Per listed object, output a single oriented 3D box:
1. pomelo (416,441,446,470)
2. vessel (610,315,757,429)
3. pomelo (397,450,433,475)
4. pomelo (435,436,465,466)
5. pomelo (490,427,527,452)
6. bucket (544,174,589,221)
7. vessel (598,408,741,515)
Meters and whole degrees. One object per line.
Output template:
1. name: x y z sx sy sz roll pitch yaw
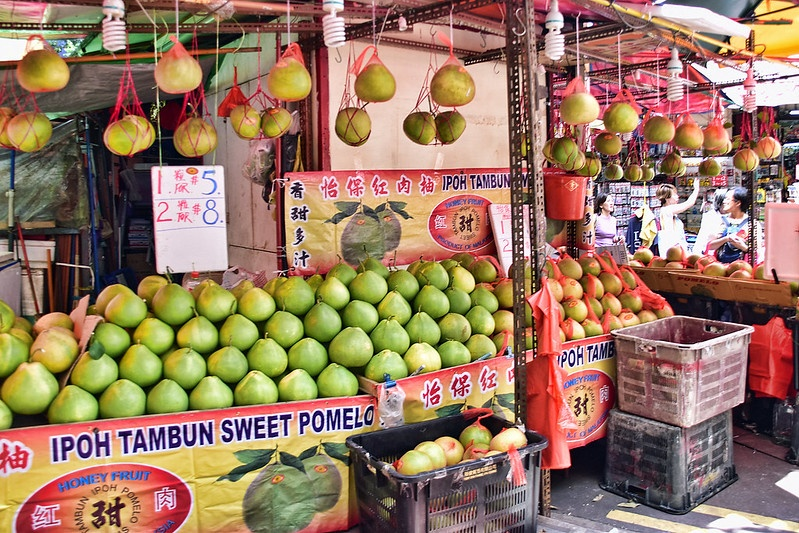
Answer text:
1. pomelo: 0.188 1.141 3.715 0.150 0.162 0.145 -4 -6 -8
2. vessel: 2.239 0.816 4.893 1.012 0.649 0.755 -8 7 -39
3. pomelo: 0.086 1.160 3.584 0.126 0.155 0.129 -14 32 28
4. pomelo: 0.318 1.149 3.817 0.143 0.157 0.148 2 -2 -6
5. pomelo: 0.669 1.080 3.832 0.140 0.150 0.144 2 16 30
6. bucket: 1.500 -0.624 5.463 0.440 0.420 0.443 -4 9 1
7. vessel: 2.179 1.439 5.008 1.010 0.638 0.849 -8 5 -41
